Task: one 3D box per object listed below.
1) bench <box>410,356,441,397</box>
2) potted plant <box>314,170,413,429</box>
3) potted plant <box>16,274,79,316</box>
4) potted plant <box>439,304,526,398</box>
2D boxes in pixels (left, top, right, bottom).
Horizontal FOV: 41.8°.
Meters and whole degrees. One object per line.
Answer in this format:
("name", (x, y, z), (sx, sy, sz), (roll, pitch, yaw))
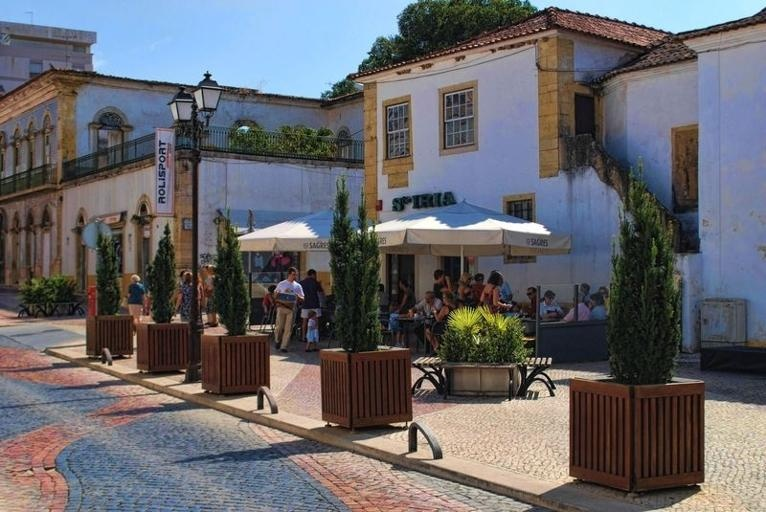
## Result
("bench", (0.841, 2.400, 19.735), (0.699, 0.580, 0.705), (1, -5, 6))
("potted plant", (-0.379, 0.818, 16.952), (1.564, 4.201, 1.228), (8, 13, 44))
("potted plant", (-11.856, 1.322, 36.828), (1.191, 1.188, 1.452), (-12, -11, 34))
("potted plant", (1.943, 1.807, 19.533), (1.451, 1.790, 1.535), (1, -1, 14))
